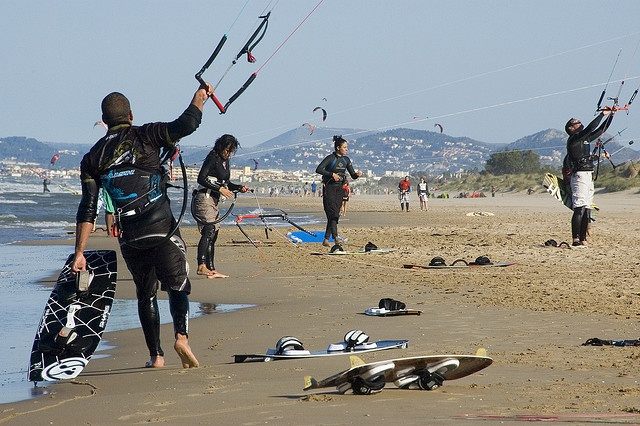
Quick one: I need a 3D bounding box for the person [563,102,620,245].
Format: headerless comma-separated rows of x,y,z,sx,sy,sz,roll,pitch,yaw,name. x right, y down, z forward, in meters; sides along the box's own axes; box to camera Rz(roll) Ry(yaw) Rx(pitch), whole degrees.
5.403,-0.683,14.563,0.835,2.749,1.124,-1,1,11,person

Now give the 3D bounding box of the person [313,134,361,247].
0.364,-0.510,15.347,1.053,2.380,0.936,2,-1,-3,person

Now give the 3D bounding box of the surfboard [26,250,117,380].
-2.470,1.055,7.270,0.650,0.414,1.610,6,44,-6,surfboard

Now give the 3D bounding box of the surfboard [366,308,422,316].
0.903,1.231,8.933,0.385,0.072,0.241,-2,2,-5,surfboard
